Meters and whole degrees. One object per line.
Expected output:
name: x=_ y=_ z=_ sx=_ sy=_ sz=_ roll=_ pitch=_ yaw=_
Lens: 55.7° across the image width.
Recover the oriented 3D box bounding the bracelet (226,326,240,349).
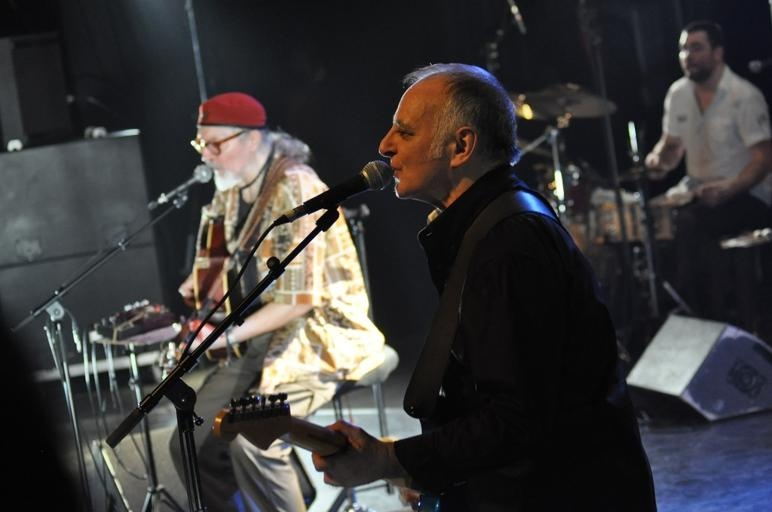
bracelet: x=-0.965 y=0.518 z=4.590 sx=0.119 sy=0.121 sz=0.119 roll=-3 pitch=-18 yaw=5

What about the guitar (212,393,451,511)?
guitar: x=-0.349 y=1.119 z=4.047 sx=1.303 sy=0.227 sz=0.509 roll=25 pitch=-58 yaw=-32

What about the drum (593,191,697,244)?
drum: x=1.908 y=-0.140 z=5.567 sx=0.643 sy=0.448 sz=0.359 roll=-3 pitch=-4 yaw=30

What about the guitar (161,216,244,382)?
guitar: x=-1.163 y=0.211 z=4.911 sx=0.563 sy=1.118 sz=0.310 roll=-5 pitch=-30 yaw=36

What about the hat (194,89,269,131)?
hat: x=-1.021 y=-0.938 z=4.830 sx=0.355 sy=0.189 sz=0.251 roll=-4 pitch=5 yaw=-24

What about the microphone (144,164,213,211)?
microphone: x=-1.518 y=-0.486 z=5.247 sx=0.507 sy=0.148 sz=0.154 roll=-22 pitch=-14 yaw=-21
